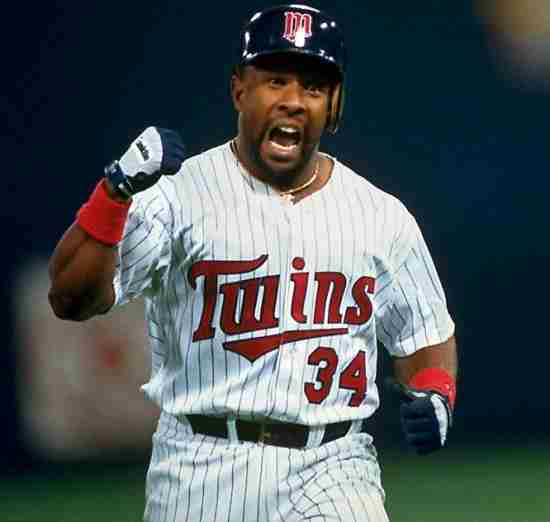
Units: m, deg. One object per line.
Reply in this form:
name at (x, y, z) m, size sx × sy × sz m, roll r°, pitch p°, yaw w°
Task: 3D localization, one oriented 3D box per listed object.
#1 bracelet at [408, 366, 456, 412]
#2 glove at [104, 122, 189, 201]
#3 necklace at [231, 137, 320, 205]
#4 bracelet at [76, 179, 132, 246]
bracelet at (0.573, 0.447, 3.518) m, size 0.148 × 0.168 × 0.131 m, roll -7°, pitch 29°, yaw 38°
glove at (-0.400, -0.279, 3.070) m, size 0.272 × 0.174 × 0.101 m, roll -42°, pitch -21°, yaw -3°
necklace at (0.011, -0.323, 3.388) m, size 0.268 × 0.072 × 0.220 m, roll 41°, pitch -36°, yaw -24°
bracelet at (-0.537, -0.136, 2.963) m, size 0.130 × 0.185 × 0.179 m, roll 26°, pitch 4°, yaw -10°
